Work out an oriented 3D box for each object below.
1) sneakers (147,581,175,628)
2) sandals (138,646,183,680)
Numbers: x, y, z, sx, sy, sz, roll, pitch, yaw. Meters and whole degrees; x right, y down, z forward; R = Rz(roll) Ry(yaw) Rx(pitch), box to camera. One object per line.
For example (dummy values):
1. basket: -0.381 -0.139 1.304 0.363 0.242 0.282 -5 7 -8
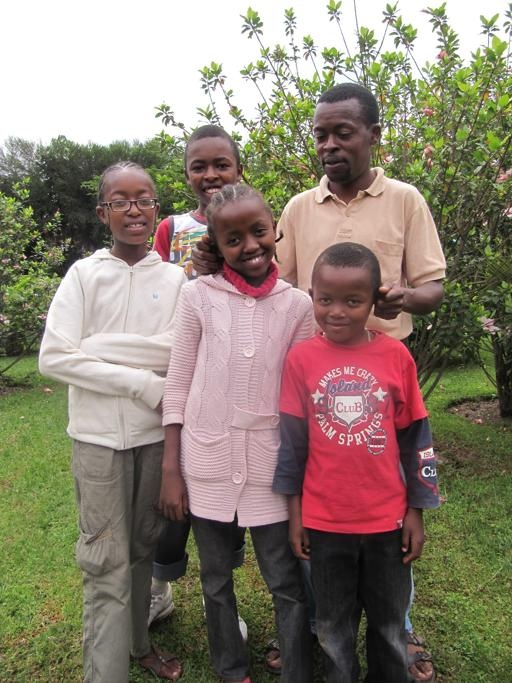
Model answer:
1. sneakers: -0.444 1.216 2.618 0.108 0.123 0.288 -10 -12 19
2. sandals: -0.398 1.320 2.322 0.177 0.042 0.083 9 32 31
